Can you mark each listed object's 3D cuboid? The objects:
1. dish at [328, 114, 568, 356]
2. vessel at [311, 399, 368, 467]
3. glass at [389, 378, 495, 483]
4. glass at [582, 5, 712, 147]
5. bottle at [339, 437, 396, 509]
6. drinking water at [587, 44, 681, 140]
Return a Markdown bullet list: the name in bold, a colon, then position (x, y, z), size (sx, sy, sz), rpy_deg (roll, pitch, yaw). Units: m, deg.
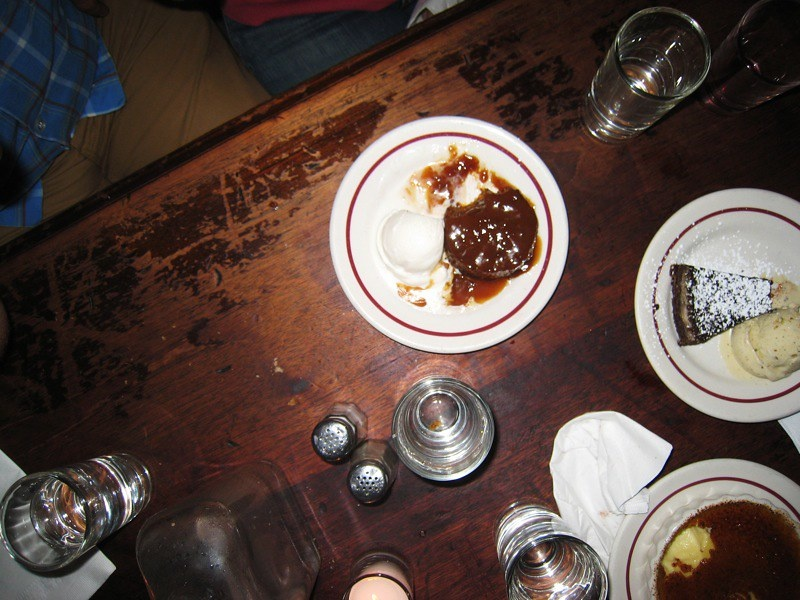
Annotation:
- **dish**: position (0.114, -0.155, 1.510), size (0.558, 0.099, 0.547), rpy_deg (0, -82, 3)
- **vessel**: position (-0.130, 0.300, 1.520), size (0.119, 0.174, 0.136), rpy_deg (-14, -92, -3)
- **glass**: position (0.098, 0.295, 1.496), size (0.229, 0.135, 0.212), rpy_deg (0, -82, 3)
- **glass**: position (0.560, -0.517, 1.579), size (0.280, 0.323, 0.309), rpy_deg (4, -93, 0)
- **bottle**: position (-0.055, 0.382, 1.513), size (0.126, 0.179, 0.136), rpy_deg (0, -85, 5)
- **drinking water**: position (0.542, -0.477, 1.537), size (0.185, 0.168, 0.210), rpy_deg (-39, -103, 13)
